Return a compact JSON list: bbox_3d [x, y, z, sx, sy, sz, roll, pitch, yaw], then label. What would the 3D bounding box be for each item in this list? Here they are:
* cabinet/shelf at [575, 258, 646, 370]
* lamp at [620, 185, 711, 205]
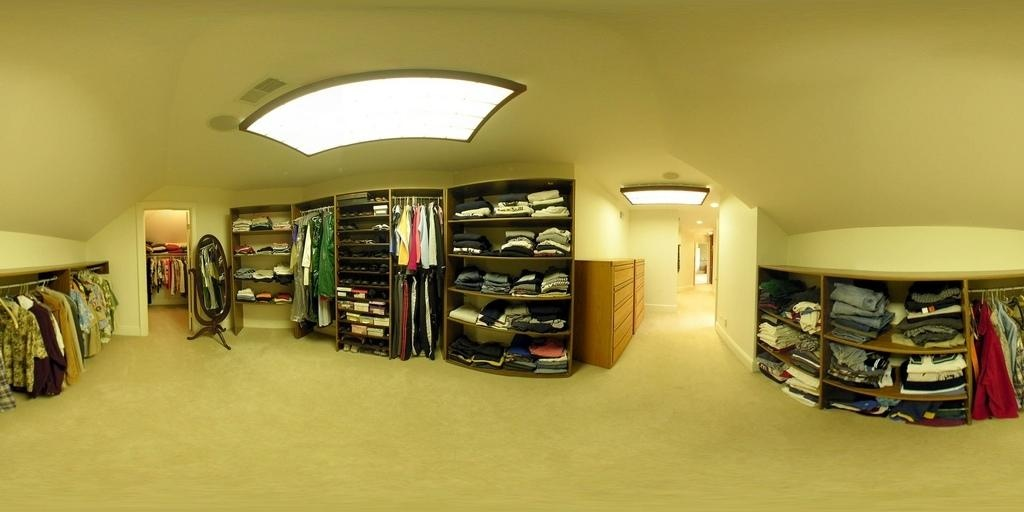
[{"bbox_3d":[1.476,0.931,8.924,0.634,0.964,1.846,1,-6,29],"label":"cabinet/shelf"},{"bbox_3d":[2.772,-1.085,10.383,1.479,0.311,1.629,1,4,15],"label":"lamp"}]
